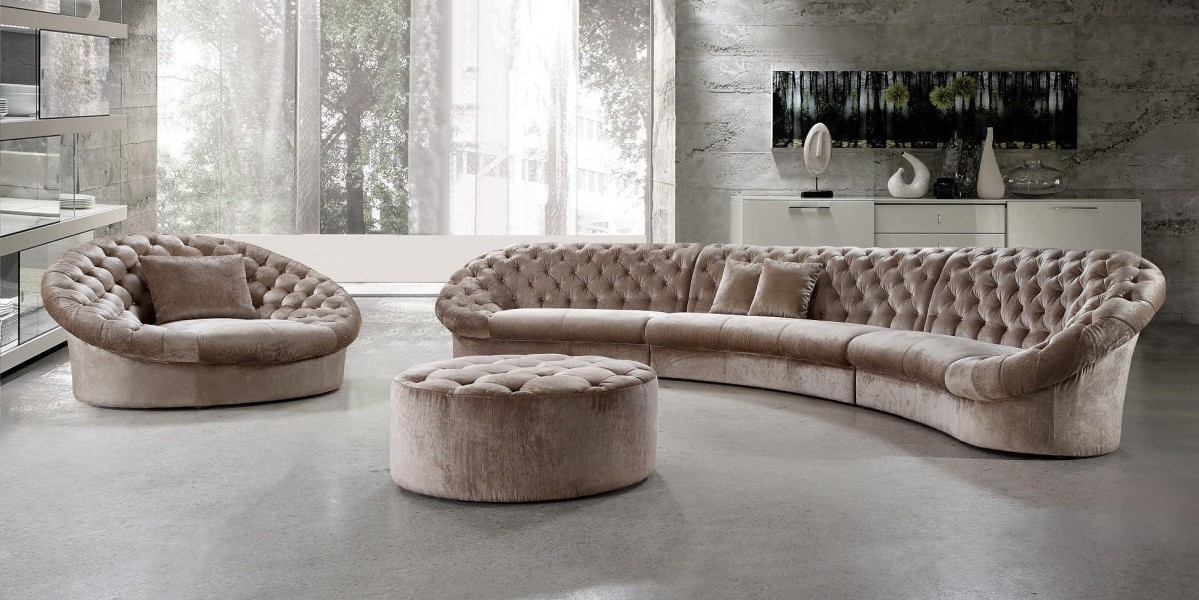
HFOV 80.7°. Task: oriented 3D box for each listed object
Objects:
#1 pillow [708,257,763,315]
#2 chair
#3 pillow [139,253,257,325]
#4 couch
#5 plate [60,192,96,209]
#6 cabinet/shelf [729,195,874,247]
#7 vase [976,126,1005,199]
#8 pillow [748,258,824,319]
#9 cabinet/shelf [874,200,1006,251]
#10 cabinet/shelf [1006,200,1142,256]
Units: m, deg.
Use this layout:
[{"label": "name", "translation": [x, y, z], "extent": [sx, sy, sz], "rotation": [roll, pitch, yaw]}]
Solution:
[{"label": "pillow", "translation": [1.263, -0.117, 6.519], "extent": [0.532, 0.451, 0.165], "rotation": [16, -4, 32]}, {"label": "chair", "translation": [-3.347, 0.128, 5.932], "extent": [2.255, 1.360, 0.969], "rotation": [-2, 9, -5]}, {"label": "pillow", "translation": [-3.433, -0.138, 6.147], "extent": [0.897, 0.512, 0.298], "rotation": [-4, 20, -4]}, {"label": "couch", "translation": [1.745, 0.250, 6.029], "extent": [4.983, 1.468, 1.422], "rotation": [2, 9, 23]}, {"label": "plate", "translation": [-5.369, -1.006, 7.181], "extent": [0.268, 0.052, 0.249], "rotation": [2, -1, 6]}, {"label": "cabinet/shelf", "translation": [2.419, -0.847, 8.628], "extent": [1.632, 0.652, 0.869], "rotation": [-1, 2, -9]}, {"label": "vase", "translation": [4.652, -1.648, 8.399], "extent": [0.291, 0.859, 0.413], "rotation": [0, 10, 12]}, {"label": "pillow", "translation": [1.671, -0.106, 6.402], "extent": [0.621, 0.499, 0.174], "rotation": [9, -6, 12]}, {"label": "cabinet/shelf", "translation": [3.959, -0.876, 8.998], "extent": [1.925, 0.617, 1.615], "rotation": [1, 1, 4]}, {"label": "cabinet/shelf", "translation": [5.498, -0.881, 8.285], "extent": [1.540, 0.866, 0.812], "rotation": [1, 6, 2]}]
